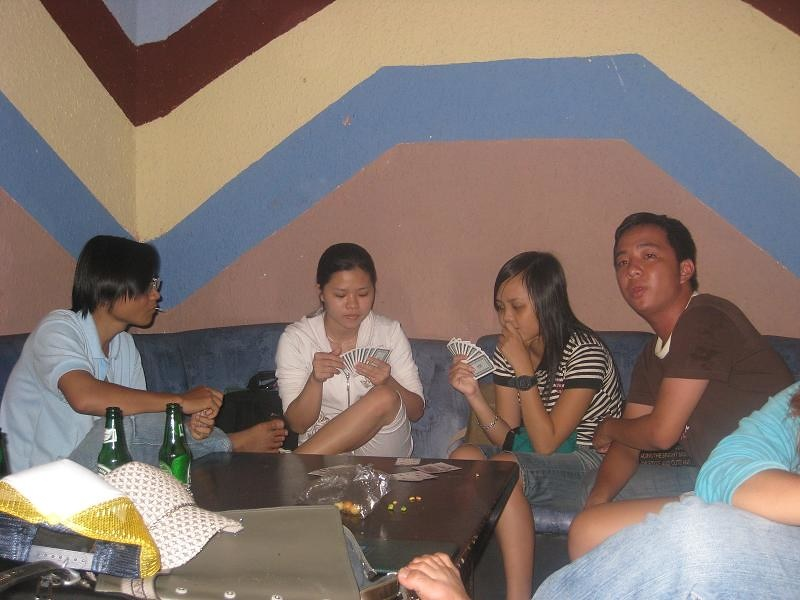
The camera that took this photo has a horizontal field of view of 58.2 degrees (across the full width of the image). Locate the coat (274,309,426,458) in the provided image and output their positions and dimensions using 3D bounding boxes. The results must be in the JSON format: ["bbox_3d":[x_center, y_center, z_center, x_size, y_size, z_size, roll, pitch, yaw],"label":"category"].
[{"bbox_3d":[-0.237,0.255,2.977,0.660,0.830,0.482,-3,-10,-12],"label":"coat"}]

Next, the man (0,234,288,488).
[{"bbox_3d":[-0.852,0.185,2.532,0.948,0.921,0.680,1,-3,-10],"label":"man"}]

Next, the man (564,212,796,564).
[{"bbox_3d":[0.945,0.306,2.932,0.979,1.568,0.690,-3,-10,18],"label":"man"}]

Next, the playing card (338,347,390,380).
[{"bbox_3d":[-0.140,0.245,2.794,0.132,0.129,0.019,2,38,-11],"label":"playing card"}]

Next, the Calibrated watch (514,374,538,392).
[{"bbox_3d":[0.449,0.295,2.620,0.058,0.034,0.061,1,4,24],"label":"Calibrated watch"}]

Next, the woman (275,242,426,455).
[{"bbox_3d":[-0.170,0.204,2.733,0.593,0.801,0.718,2,9,-10],"label":"woman"}]

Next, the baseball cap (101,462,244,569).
[{"bbox_3d":[-0.558,0.453,1.613,0.297,0.141,0.226,16,3,4],"label":"baseball cap"}]
